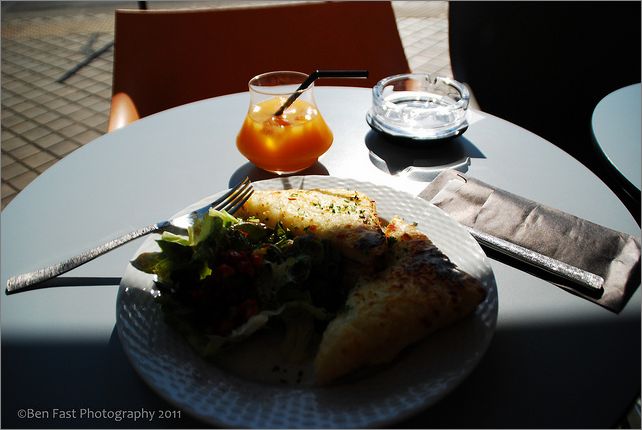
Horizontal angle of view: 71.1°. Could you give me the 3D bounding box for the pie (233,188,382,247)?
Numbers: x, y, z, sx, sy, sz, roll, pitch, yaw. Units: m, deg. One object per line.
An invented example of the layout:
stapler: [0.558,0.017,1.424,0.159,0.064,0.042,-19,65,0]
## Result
pie: [-0.021,-0.004,1.113,0.256,0.039,0.169,2,38,7]

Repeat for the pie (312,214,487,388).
pie: [0.175,0.185,1.011,0.307,0.071,0.441,14,38,37]

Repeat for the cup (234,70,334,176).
cup: [-0.109,-0.249,1.384,0.281,0.253,0.300,-2,36,2]
